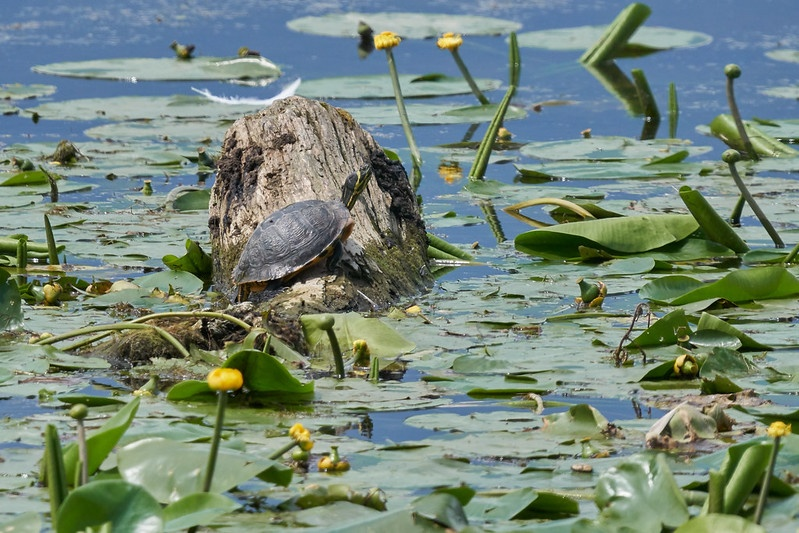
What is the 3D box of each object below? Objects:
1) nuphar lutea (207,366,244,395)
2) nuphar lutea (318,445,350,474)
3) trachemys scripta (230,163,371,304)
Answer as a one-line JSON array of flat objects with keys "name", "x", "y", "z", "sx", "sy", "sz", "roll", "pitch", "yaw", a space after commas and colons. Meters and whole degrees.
[{"name": "nuphar lutea", "x": -0.775, "y": 0.499, "z": 4.605, "sx": 0.183, "sy": 0.063, "sz": 0.138, "roll": -1, "pitch": 4, "yaw": 2}, {"name": "nuphar lutea", "x": -0.346, "y": 0.998, "z": 5.413, "sx": 0.194, "sy": 0.103, "sz": 0.171, "roll": -2, "pitch": 2, "yaw": -22}, {"name": "trachemys scripta", "x": -0.721, "y": -0.315, "z": 8.522, "sx": 1.493, "sy": 0.460, "sz": 0.886, "roll": -29, "pitch": 20, "yaw": -1}]
